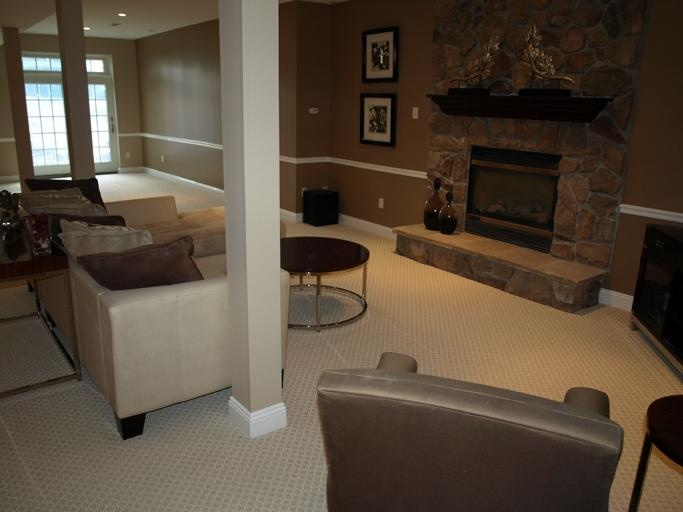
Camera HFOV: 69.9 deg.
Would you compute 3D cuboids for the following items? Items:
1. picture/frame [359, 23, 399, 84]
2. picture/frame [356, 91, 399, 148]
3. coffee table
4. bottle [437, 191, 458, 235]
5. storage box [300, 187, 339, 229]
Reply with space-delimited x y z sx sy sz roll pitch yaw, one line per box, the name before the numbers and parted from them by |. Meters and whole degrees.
picture/frame | 0.496 -2.545 6.093 0.056 0.805 0.721 -15 17 -34
picture/frame | 0.491 -1.776 6.282 0.051 0.734 0.632 -15 23 -37
coffee table | -0.173 0.219 4.273 0.793 0.529 0.852 3 20 3
bottle | 1.182 -0.483 5.379 0.200 0.468 0.264 6 18 13
storage box | -0.273 -0.761 7.170 0.502 0.591 0.521 -10 19 -40
